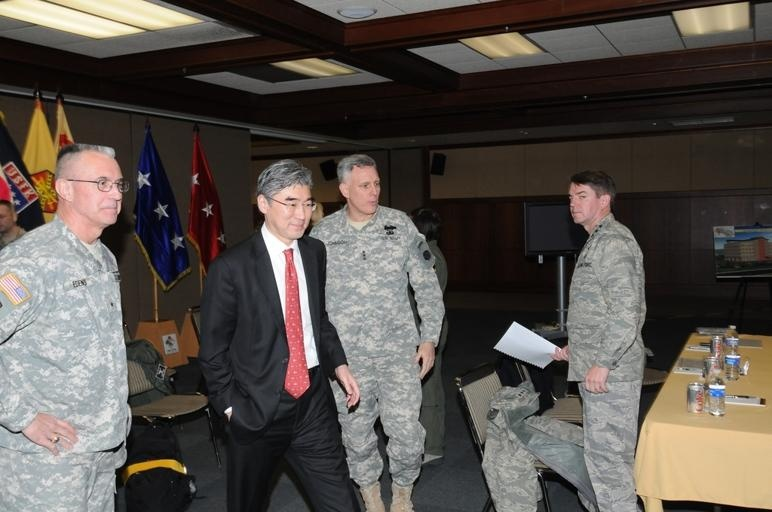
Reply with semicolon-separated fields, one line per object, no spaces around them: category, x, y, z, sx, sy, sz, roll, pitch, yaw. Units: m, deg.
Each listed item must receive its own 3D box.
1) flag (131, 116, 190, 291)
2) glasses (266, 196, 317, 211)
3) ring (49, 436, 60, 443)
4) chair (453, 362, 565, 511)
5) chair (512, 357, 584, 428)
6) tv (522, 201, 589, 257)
flag;-2.964;-0.622;7.410;0.665;2.116;0.239;-9;11;-35
glasses;-0.492;-0.294;3.162;0.274;0.077;0.147;-9;10;-42
ring;-1.555;0.865;2.700;0.035;0.031;0.010;9;-1;-40
chair;0.865;1.317;4.088;0.599;1.159;0.888;-1;9;15
chair;1.305;1.055;4.596;0.510;0.651;0.415;1;8;18
tv;1.994;-0.316;6.722;0.829;0.541;0.067;-2;-6;4
